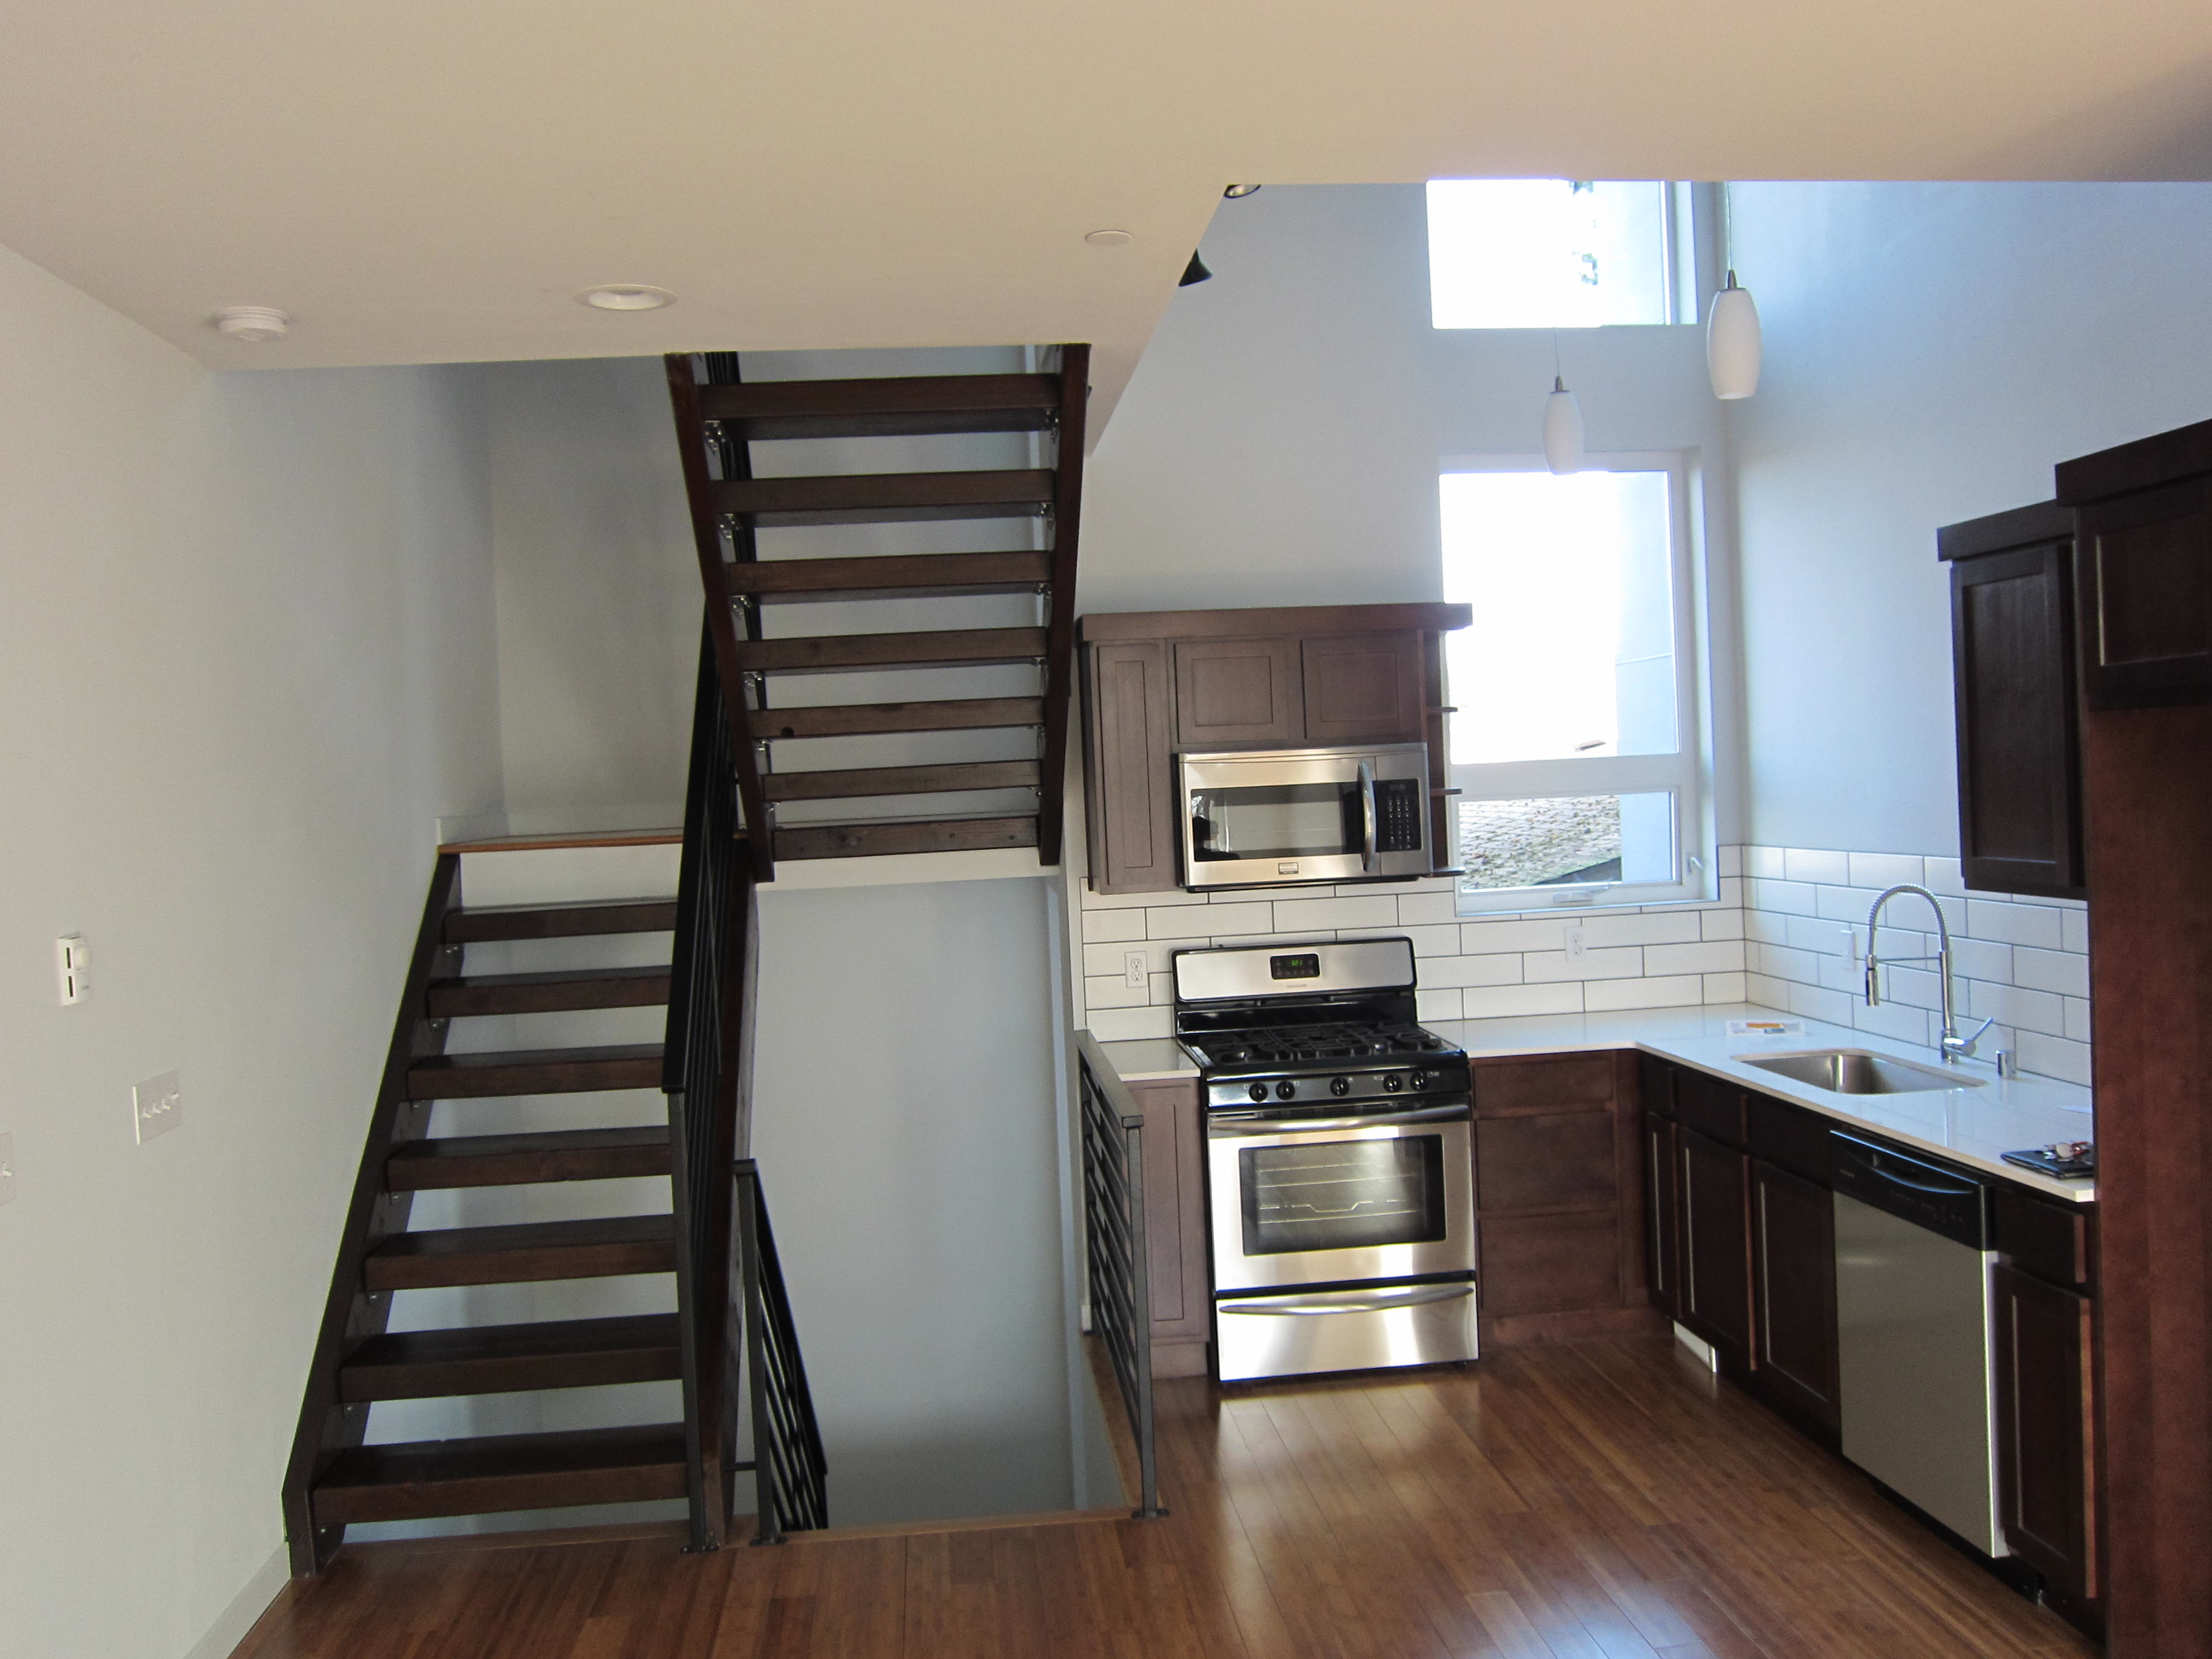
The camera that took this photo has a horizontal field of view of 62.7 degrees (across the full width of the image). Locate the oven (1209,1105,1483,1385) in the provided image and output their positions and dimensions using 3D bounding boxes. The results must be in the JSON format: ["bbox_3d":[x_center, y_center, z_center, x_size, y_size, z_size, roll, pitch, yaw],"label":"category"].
[{"bbox_3d":[0.739,1.378,6.296,0.965,0.888,0.742,-1,0,-15],"label":"oven"}]

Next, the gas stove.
[{"bbox_3d":[0.727,0.725,6.259,0.938,0.604,0.678,-3,10,-16],"label":"gas stove"}]

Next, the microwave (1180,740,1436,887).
[{"bbox_3d":[0.682,-0.039,6.187,0.739,0.469,0.497,-1,-2,-10],"label":"microwave"}]

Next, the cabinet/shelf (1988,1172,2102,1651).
[{"bbox_3d":[2.315,1.422,4.454,0.092,1.073,0.343,-4,9,-18],"label":"cabinet/shelf"}]

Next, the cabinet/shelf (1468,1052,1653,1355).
[{"bbox_3d":[1.506,1.154,6.435,0.512,1.062,0.711,-6,21,7],"label":"cabinet/shelf"}]

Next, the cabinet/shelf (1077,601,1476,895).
[{"bbox_3d":[0.547,-0.284,6.209,0.994,0.762,0.330,-1,0,-10],"label":"cabinet/shelf"}]

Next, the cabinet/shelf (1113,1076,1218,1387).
[{"bbox_3d":[0.208,1.325,6.018,0.246,1.027,0.102,-2,8,-11],"label":"cabinet/shelf"}]
